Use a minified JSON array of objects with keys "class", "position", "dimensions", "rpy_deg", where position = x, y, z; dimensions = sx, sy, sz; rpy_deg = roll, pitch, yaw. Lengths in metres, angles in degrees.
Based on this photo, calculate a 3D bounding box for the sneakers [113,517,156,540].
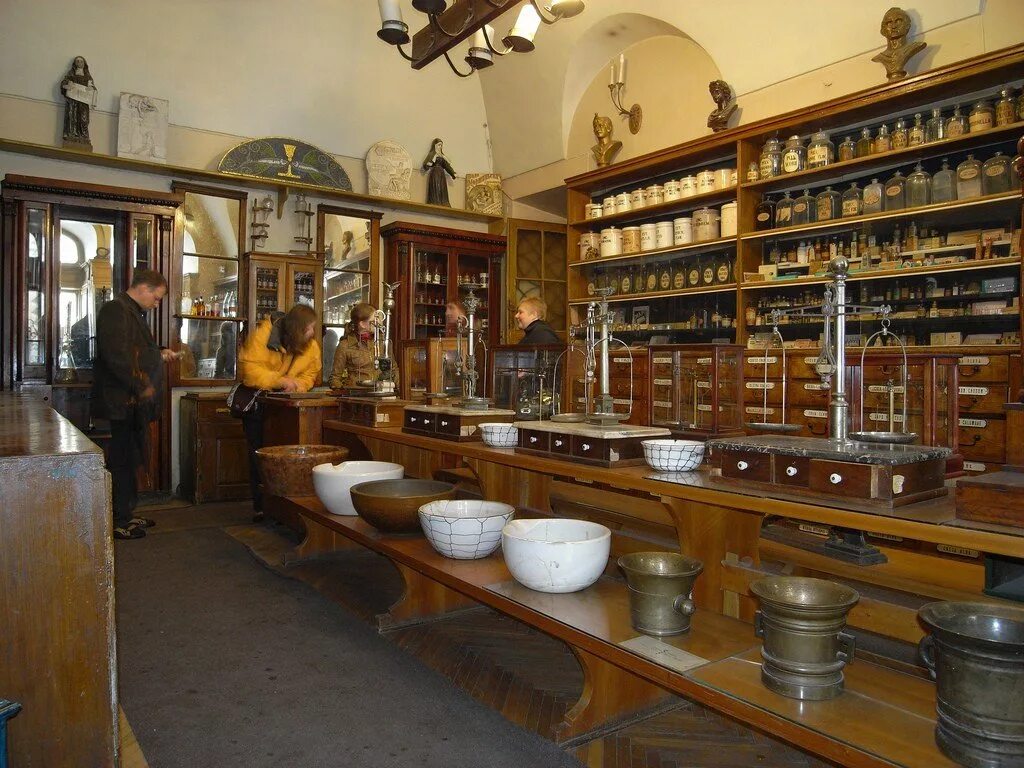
[{"class":"sneakers","position":[-2.613,0.988,5.314],"dimensions":[0.212,0.121,0.380],"rpy_deg":[-2,8,-17]}]

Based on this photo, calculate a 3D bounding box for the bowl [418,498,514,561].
[{"class":"bowl","position":[-0.164,0.576,2.903],"dimensions":[0.330,0.133,0.316],"rpy_deg":[4,-10,1]}]

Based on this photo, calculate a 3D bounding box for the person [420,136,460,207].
[{"class":"person","position":[-0.744,-2.255,8.222],"dimensions":[0.210,0.730,0.419],"rpy_deg":[6,10,33]}]

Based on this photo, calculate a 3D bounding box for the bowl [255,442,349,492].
[{"class":"bowl","position":[-1.095,0.430,3.969],"dimensions":[0.344,0.139,0.324],"rpy_deg":[0,-5,0]}]

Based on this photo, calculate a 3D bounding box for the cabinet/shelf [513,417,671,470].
[{"class":"cabinet/shelf","position":[0.293,0.246,3.254],"dimensions":[0.653,0.156,0.295],"rpy_deg":[5,9,31]}]

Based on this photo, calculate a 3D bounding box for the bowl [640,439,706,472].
[{"class":"bowl","position":[0.632,0.276,2.993],"dimensions":[0.166,0.067,0.152],"rpy_deg":[1,-2,0]}]

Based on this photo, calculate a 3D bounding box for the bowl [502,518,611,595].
[{"class":"bowl","position":[0.148,0.588,2.644],"dimensions":[0.390,0.157,0.349],"rpy_deg":[-2,6,-13]}]

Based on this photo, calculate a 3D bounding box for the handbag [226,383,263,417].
[{"class":"handbag","position":[-1.940,0.121,5.609],"dimensions":[0.192,0.237,0.137],"rpy_deg":[22,-20,13]}]

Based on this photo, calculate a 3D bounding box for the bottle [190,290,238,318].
[{"class":"bottle","position":[-2.623,-0.706,6.807],"dimensions":[0.112,0.222,0.384],"rpy_deg":[8,11,44]}]
